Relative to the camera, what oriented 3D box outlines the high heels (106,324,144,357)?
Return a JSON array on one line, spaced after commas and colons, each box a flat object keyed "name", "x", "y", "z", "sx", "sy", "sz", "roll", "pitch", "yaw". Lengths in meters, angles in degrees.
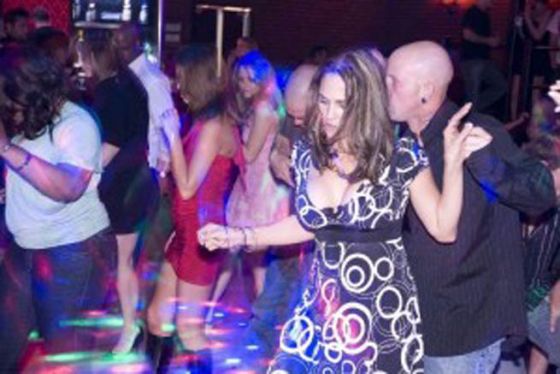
[{"name": "high heels", "x": -1.300, "y": 1.325, "z": 4.004, "sx": 0.118, "sy": 0.184, "sz": 0.408, "roll": 3, "pitch": 7, "yaw": 28}]
